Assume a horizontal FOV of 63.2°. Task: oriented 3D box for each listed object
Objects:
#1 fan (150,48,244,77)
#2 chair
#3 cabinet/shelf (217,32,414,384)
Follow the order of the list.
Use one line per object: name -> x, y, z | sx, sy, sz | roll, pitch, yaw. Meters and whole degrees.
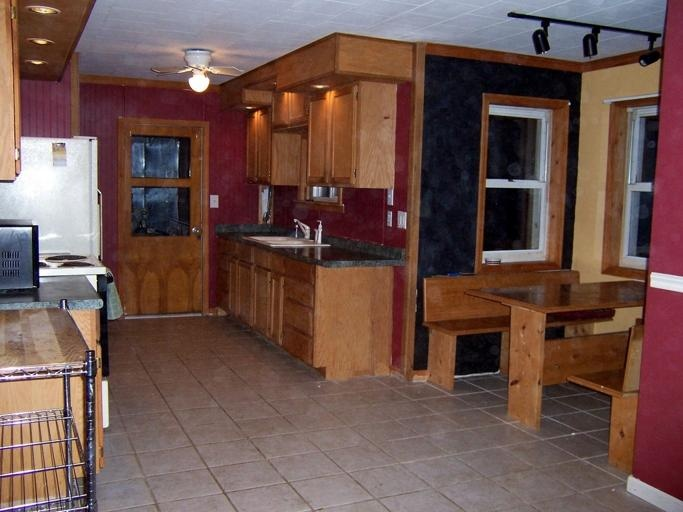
fan -> -1.406, -1.879, 5.408 | 0.429, 0.110, 0.458 | -9, 12, -44
chair -> 1.653, 0.737, 4.422 | 1.485, 0.665, 1.441 | 0, 2, -25
cabinet/shelf -> -0.214, -0.433, 5.417 | 1.016, 3.084, 3.376 | 0, 3, -23
